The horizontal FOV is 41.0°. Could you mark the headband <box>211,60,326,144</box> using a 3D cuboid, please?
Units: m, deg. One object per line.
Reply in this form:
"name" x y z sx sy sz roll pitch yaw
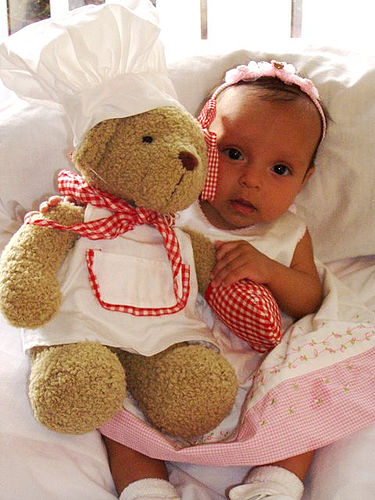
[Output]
"headband" 0.164 -0.340 1.148 0.242 0.223 0.070 -6 62 25
